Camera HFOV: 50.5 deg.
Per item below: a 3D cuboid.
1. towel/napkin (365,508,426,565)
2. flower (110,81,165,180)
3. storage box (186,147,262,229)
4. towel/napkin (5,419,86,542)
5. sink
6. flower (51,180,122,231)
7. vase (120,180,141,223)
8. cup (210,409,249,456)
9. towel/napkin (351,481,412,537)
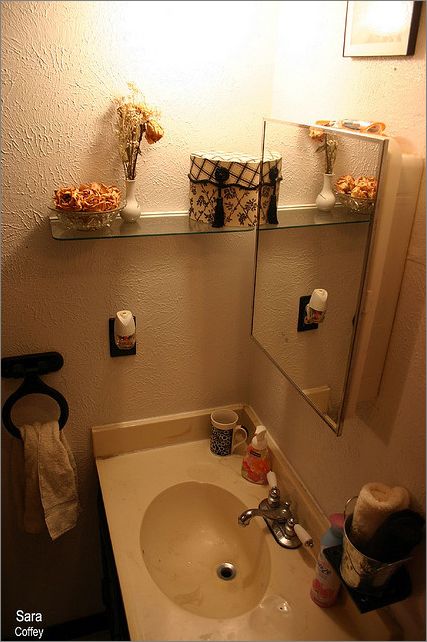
[{"bbox_3d":[0.275,0.321,0.718,0.081,0.080,0.070,-35,50,-20],"label":"towel/napkin"},{"bbox_3d":[-0.173,-0.429,1.032,0.075,0.203,0.124,-17,31,-40],"label":"flower"},{"bbox_3d":[0.029,-0.330,1.108,0.177,0.167,0.128,12,35,12],"label":"storage box"},{"bbox_3d":[-0.496,0.439,1.346,0.182,0.346,0.067,-7,18,-24],"label":"towel/napkin"},{"bbox_3d":[-0.026,0.564,1.125,0.285,0.121,0.385,-6,27,-23],"label":"sink"},{"bbox_3d":[-0.281,-0.240,0.992,0.134,0.077,0.143,6,27,-1],"label":"flower"},{"bbox_3d":[-0.194,-0.291,1.089,0.041,0.104,0.099,7,24,6],"label":"vase"},{"bbox_3d":[0.049,0.355,1.385,0.115,0.121,0.072,11,20,30],"label":"cup"},{"bbox_3d":[0.252,0.300,0.715,0.081,0.088,0.068,7,18,-6],"label":"towel/napkin"}]
